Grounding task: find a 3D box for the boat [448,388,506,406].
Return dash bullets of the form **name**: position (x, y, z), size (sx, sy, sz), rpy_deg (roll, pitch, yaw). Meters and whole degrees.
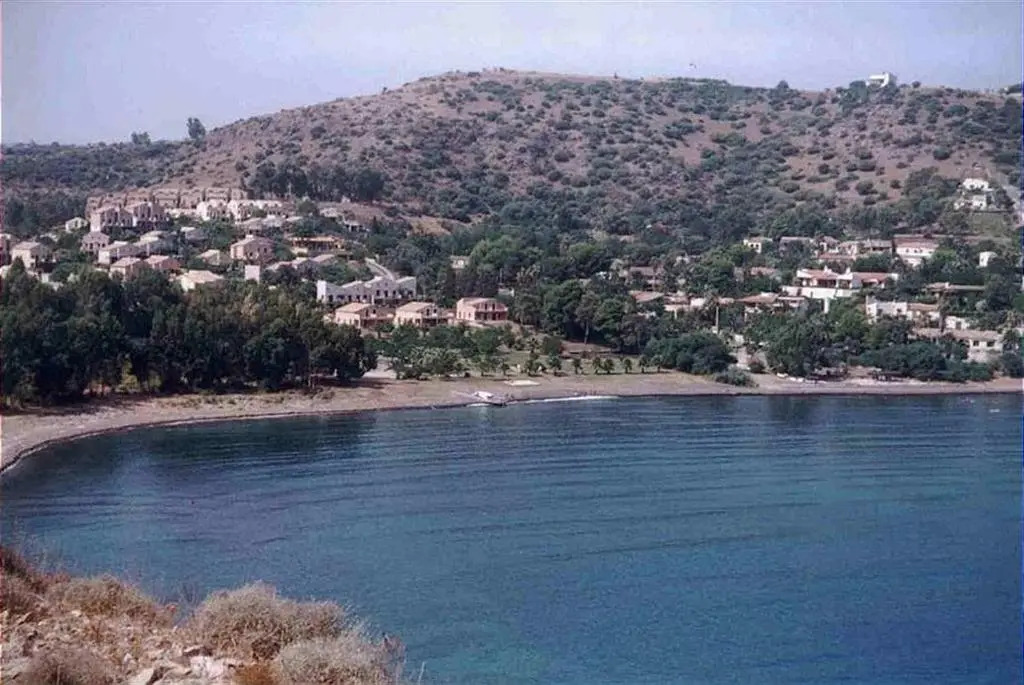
- **boat**: position (-2.861, 5.228, 123.981), size (3.067, 1.176, 5.989), rpy_deg (-6, 5, -44)
